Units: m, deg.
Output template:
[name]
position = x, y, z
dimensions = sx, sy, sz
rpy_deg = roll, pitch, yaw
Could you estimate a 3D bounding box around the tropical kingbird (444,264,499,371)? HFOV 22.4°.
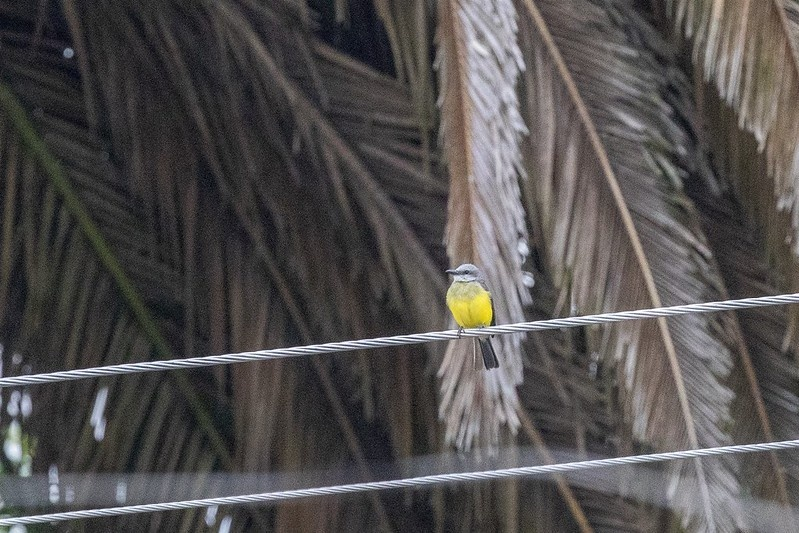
[tropical kingbird]
position = 0.599, 0.359, 17.254
dimensions = 0.332, 0.468, 1.044
rpy_deg = -12, -54, 12
